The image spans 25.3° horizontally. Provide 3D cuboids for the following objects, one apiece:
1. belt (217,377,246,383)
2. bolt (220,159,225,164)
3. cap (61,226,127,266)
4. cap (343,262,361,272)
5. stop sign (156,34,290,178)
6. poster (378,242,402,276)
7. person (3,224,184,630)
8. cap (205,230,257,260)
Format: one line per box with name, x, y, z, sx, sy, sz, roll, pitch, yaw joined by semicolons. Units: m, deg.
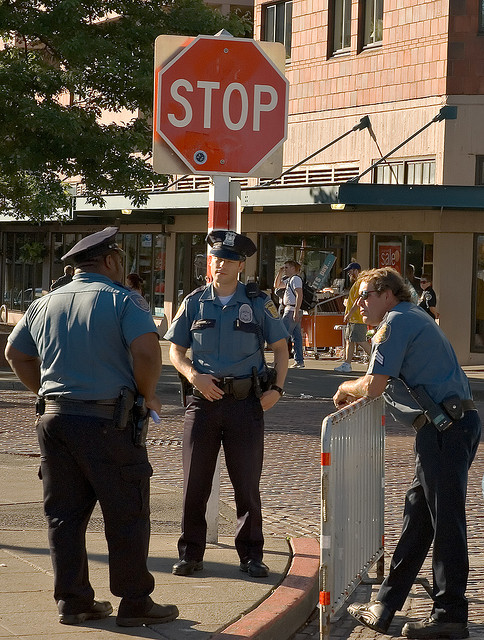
belt;-0.059;0.303;5.456;0.114;0.026;0.032;1;2;-1
bolt;-0.113;-0.887;6.034;0.026;0.027;0.008;2;0;-13
cap;-0.629;-0.343;4.649;0.206;0.091;0.163;-21;11;-30
cap;1.846;-0.905;18.050;0.265;0.155;0.185;2;-3;-5
stop sign;-0.130;-1.183;6.000;0.826;0.886;0.099;0;3;-19
poster;2.991;-1.269;21.871;0.591;0.609;0.331;2;2;24
person;-0.632;0.445;4.594;0.774;1.680;0.383;1;2;24
cap;-0.059;-0.398;5.701;0.251;0.160;0.346;0;2;-4
